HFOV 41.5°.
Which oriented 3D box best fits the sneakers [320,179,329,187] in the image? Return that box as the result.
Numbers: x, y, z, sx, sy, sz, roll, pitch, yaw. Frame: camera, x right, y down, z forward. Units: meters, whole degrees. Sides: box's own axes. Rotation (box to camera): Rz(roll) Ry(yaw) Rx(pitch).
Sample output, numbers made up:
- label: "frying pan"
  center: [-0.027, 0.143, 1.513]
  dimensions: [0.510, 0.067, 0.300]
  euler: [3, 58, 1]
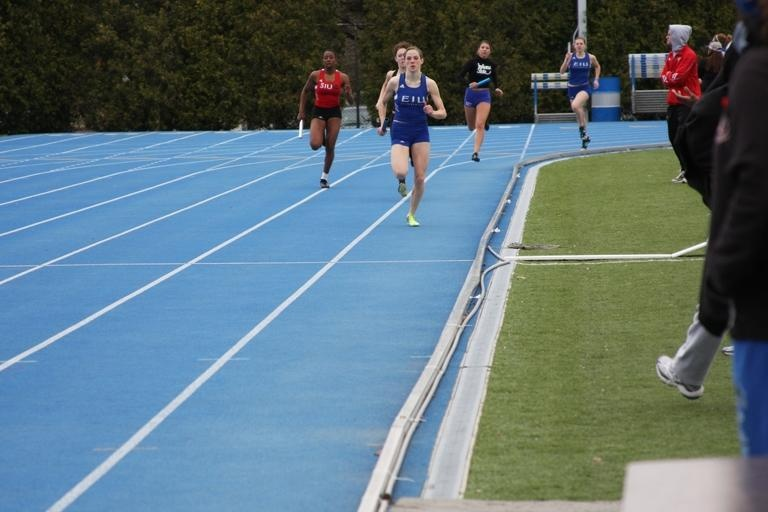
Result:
- label: "sneakers"
  center: [-0.985, -1.205, 16.665]
  dimensions: [0.160, 0.194, 0.481]
  euler: [-1, 0, -6]

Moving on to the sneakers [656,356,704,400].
- label: "sneakers"
  center: [1.983, 0.808, 6.787]
  dimensions: [0.116, 0.149, 0.326]
  euler: [-19, 52, -19]

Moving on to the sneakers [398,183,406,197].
- label: "sneakers"
  center: [0.253, -0.932, 13.966]
  dimensions: [0.099, 0.046, 0.191]
  euler: [-2, 56, -1]
